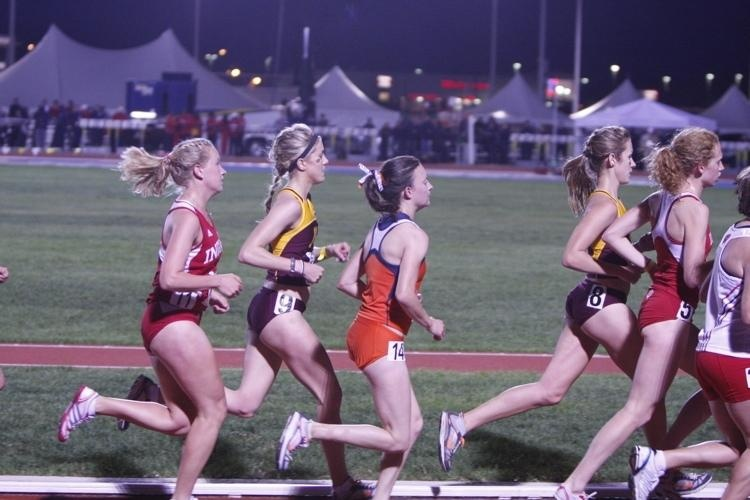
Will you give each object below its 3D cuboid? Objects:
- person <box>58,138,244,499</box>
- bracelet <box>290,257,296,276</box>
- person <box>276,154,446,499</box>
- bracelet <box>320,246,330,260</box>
[{"bbox_3d":[-1.921,0.676,9.738,1.351,3.432,0.732,4,6,15],"label":"person"},{"bbox_3d":[-0.775,0.158,9.797,0.073,0.111,0.103,7,42,-5],"label":"bracelet"},{"bbox_3d":[0.023,0.721,9.748,1.244,3.183,0.590,2,6,2],"label":"person"},{"bbox_3d":[-0.495,0.041,10.422,0.060,0.127,0.090,9,25,-26],"label":"bracelet"}]
